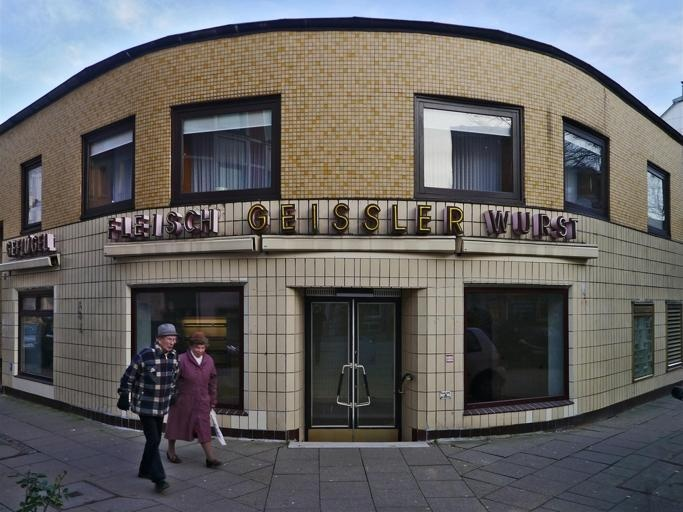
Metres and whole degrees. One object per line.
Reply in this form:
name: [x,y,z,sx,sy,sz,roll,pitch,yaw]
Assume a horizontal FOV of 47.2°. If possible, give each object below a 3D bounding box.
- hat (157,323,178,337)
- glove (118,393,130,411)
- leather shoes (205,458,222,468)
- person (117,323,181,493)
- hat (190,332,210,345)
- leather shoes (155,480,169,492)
hat: [-3.228,1.380,14.671,0.296,0.171,0.318,0,0,10]
glove: [-3.988,2.661,14.339,0.205,0.332,0.234,1,1,-17]
leather shoes: [-2.477,4.006,15.153,0.341,0.147,0.127,-2,0,-5]
person: [-3.556,2.772,14.436,1.000,2.997,0.742,1,1,-12]
hat: [-2.779,1.602,15.248,0.220,0.227,0.282,0,6,-10]
leather shoes: [-3.261,4.189,14.224,0.239,0.229,0.155,1,1,-13]
